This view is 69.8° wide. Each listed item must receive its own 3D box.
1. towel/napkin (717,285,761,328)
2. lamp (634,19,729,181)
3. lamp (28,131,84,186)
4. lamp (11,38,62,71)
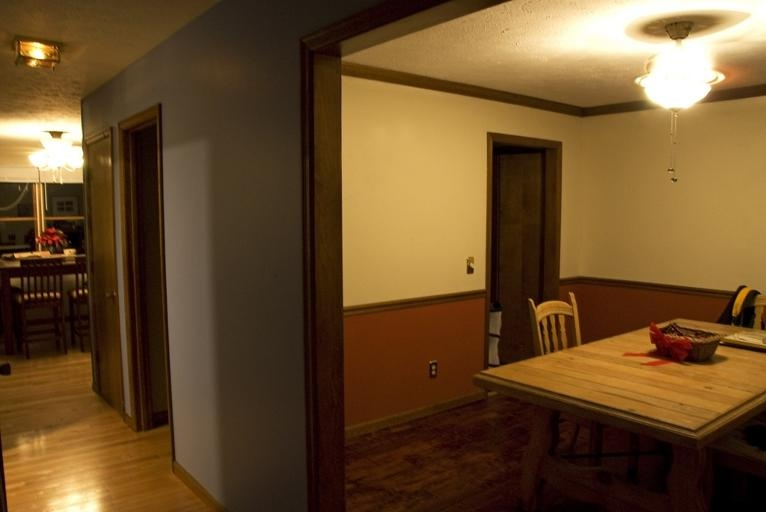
[{"bbox_3d":[3.203,0.461,4.934,0.296,0.385,0.148,0,17,-18],"label":"towel/napkin"},{"bbox_3d":[2.661,-1.265,4.987,0.724,1.160,2.170,0,6,32],"label":"lamp"},{"bbox_3d":[-4.647,-1.400,7.846,0.799,0.746,0.801,0,3,-11],"label":"lamp"},{"bbox_3d":[-2.686,-1.583,4.290,0.232,0.104,0.232,-6,-18,-29],"label":"lamp"}]
